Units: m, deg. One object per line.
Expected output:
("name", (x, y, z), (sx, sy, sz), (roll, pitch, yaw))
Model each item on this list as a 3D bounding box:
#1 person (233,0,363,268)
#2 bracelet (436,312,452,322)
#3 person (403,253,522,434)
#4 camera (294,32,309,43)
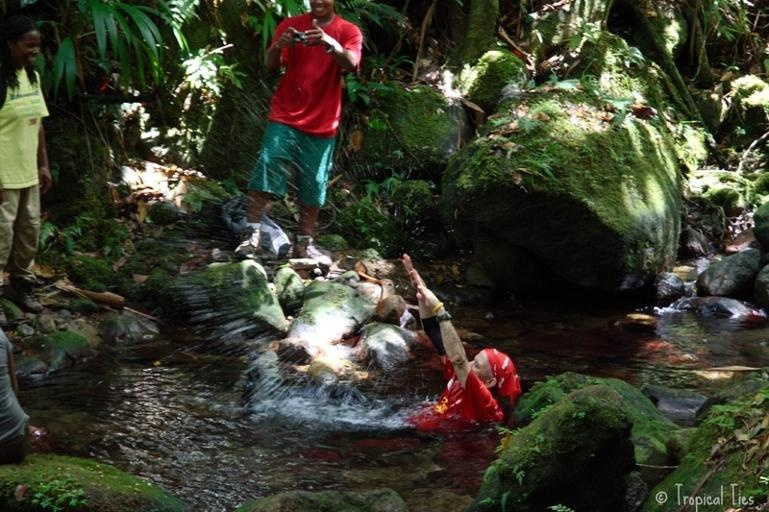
("person", (-1.019, -1.442, 7.070), (1.281, 3.020, 1.557), (2, -4, -14))
("bracelet", (0.536, 0.531, 5.232), (0.135, 0.050, 0.129), (-4, -4, 33))
("person", (0.712, 0.775, 5.312), (1.102, 1.461, 0.533), (2, -4, -3))
("camera", (-0.880, -2.415, 6.502), (0.168, 0.120, 0.068), (0, -4, 21))
